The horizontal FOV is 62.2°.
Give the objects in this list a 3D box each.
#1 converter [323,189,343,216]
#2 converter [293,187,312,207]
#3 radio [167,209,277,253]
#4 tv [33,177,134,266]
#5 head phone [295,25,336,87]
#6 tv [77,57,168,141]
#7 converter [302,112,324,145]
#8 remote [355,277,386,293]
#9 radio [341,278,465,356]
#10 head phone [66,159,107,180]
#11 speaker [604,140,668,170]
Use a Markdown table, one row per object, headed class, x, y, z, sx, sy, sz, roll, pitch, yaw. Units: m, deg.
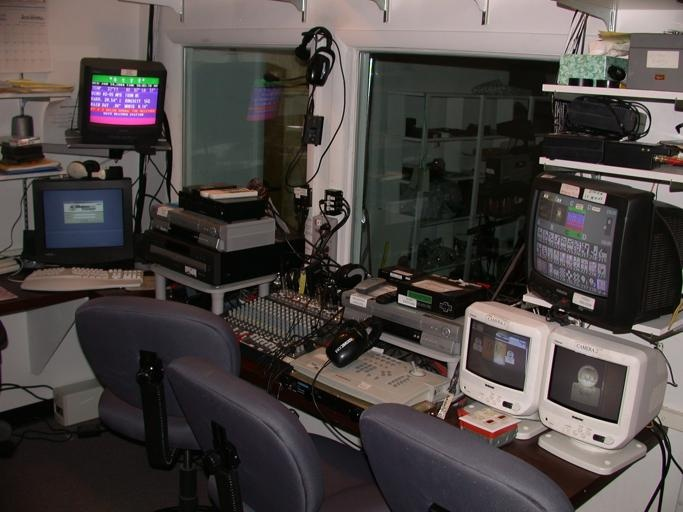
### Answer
| class | x | y | z | sx | sy | sz | roll | pitch | yaw |
| --- | --- | --- | --- | --- | --- | --- | --- | --- | --- |
| converter | -0.042 | -0.293 | 3.040 | 0.123 | 0.138 | 0.145 | 1 | 14 | 0 |
| converter | -0.214 | -0.332 | 3.163 | 0.105 | 0.114 | 0.037 | 8 | 15 | 24 |
| radio | -0.664 | -0.132 | 2.924 | 0.587 | 0.161 | 0.256 | 5 | 15 | 15 |
| tv | -1.514 | -0.209 | 3.280 | 0.504 | 0.516 | 0.278 | -1 | 2 | -14 |
| head phone | -0.133 | -1.021 | 2.892 | 0.187 | 0.291 | 0.205 | 5 | 14 | 14 |
| tv | -1.263 | -0.896 | 3.240 | 0.435 | 0.453 | 0.261 | -1 | 20 | -24 |
| converter | -0.145 | -0.684 | 3.031 | 0.133 | 0.185 | 0.065 | 14 | 16 | 33 |
| remote | 0.129 | 0.126 | 2.560 | 0.063 | 0.021 | 0.104 | 7 | 22 | 40 |
| radio | 0.291 | 0.227 | 2.444 | 0.577 | 0.215 | 0.252 | 11 | 33 | 35 |
| head phone | -1.517 | -0.516 | 3.362 | 0.170 | 0.099 | 0.190 | -11 | 19 | -39 |
| speaker | 0.988 | -0.355 | 1.914 | 0.138 | 0.068 | 0.107 | 16 | 21 | 41 |
